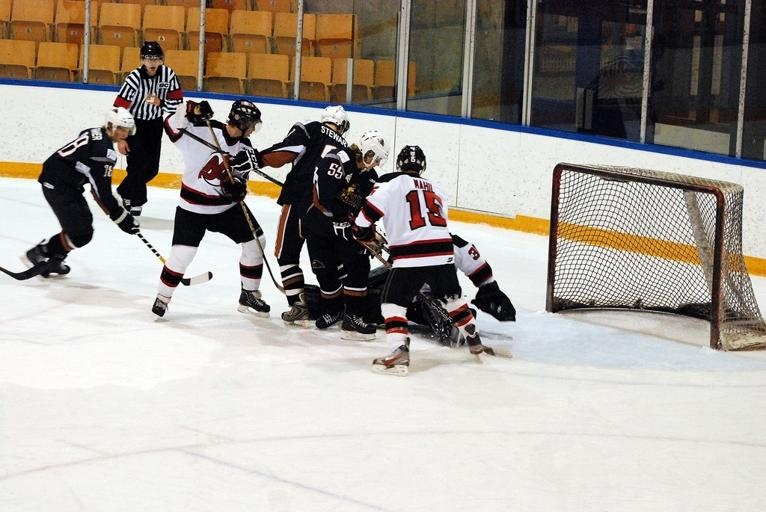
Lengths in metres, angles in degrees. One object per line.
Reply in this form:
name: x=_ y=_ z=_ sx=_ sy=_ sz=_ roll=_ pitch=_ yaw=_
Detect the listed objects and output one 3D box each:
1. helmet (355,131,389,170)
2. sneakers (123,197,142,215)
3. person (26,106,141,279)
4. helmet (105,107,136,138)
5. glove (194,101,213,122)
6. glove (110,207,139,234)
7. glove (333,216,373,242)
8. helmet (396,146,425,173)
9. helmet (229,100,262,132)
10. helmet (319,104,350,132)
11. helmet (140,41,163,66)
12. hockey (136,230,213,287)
helmet: x=-0.068 y=-0.681 z=5.759 sx=0.195 sy=0.233 sz=0.177 roll=4 pitch=5 yaw=-3
sneakers: x=-2.298 y=-0.421 z=8.239 sx=0.082 sy=0.097 sz=0.225 roll=-18 pitch=58 yaw=-24
person: x=-2.150 y=-0.430 z=6.416 sx=0.787 sy=1.257 sz=0.297 roll=7 pitch=6 yaw=28
helmet: x=-1.828 y=-0.960 z=6.380 sx=0.219 sy=0.200 sz=0.160 roll=13 pitch=30 yaw=4
glove: x=-1.192 y=-0.965 z=5.976 sx=0.109 sy=0.150 sz=0.250 roll=3 pitch=5 yaw=-6
glove: x=-1.828 y=-0.260 z=6.392 sx=0.236 sy=0.132 sz=0.061 roll=46 pitch=12 yaw=-36
glove: x=-0.203 y=-0.162 z=5.634 sx=0.155 sy=0.077 sz=0.196 roll=2 pitch=5 yaw=-32
helmet: x=0.179 y=-0.595 z=5.558 sx=0.160 sy=0.172 sz=0.284 roll=4 pitch=5 yaw=5
helmet: x=-0.891 y=-0.946 z=5.884 sx=0.220 sy=0.206 sz=0.176 roll=6 pitch=41 yaw=-12
helmet: x=-0.364 y=-0.966 z=6.264 sx=0.163 sy=0.178 sz=0.210 roll=9 pitch=16 yaw=32
helmet: x=-2.086 y=-1.791 z=7.939 sx=0.246 sy=0.211 sz=0.217 roll=0 pitch=15 yaw=15
hockey: x=-1.671 y=-0.006 z=6.604 sx=0.423 sy=0.057 sz=1.157 roll=-4 pitch=19 yaw=-35
